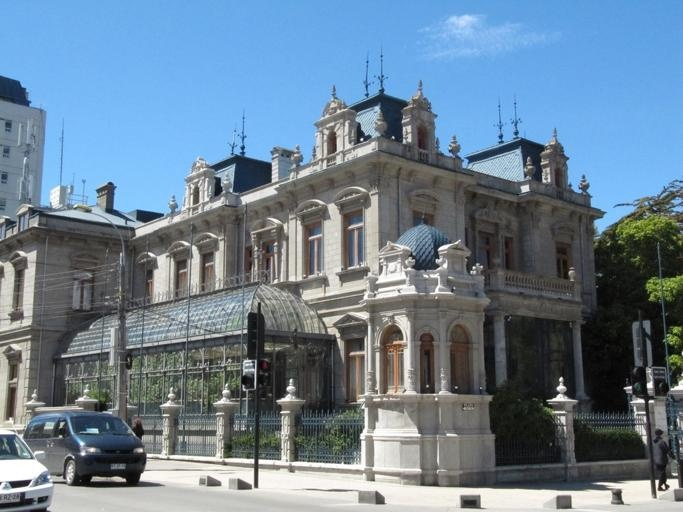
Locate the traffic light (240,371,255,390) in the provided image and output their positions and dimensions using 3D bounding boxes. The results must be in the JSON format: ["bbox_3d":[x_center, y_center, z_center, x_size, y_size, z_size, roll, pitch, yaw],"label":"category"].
[{"bbox_3d":[-2.845,3.831,26.178,0.385,0.508,0.481,1,-14,-8],"label":"traffic light"}]

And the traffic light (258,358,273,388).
[{"bbox_3d":[-2.367,3.576,26.242,0.342,0.855,0.567,-8,-16,27],"label":"traffic light"}]

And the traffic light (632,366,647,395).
[{"bbox_3d":[9.112,3.854,26.115,0.401,0.869,0.720,-5,-15,17],"label":"traffic light"}]

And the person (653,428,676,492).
[{"bbox_3d":[10.787,6.876,28.741,0.520,1.978,1.555,-6,-15,19],"label":"person"}]

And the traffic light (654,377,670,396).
[{"bbox_3d":[10.559,4.336,28.245,0.436,0.811,0.822,-5,-10,37],"label":"traffic light"}]
